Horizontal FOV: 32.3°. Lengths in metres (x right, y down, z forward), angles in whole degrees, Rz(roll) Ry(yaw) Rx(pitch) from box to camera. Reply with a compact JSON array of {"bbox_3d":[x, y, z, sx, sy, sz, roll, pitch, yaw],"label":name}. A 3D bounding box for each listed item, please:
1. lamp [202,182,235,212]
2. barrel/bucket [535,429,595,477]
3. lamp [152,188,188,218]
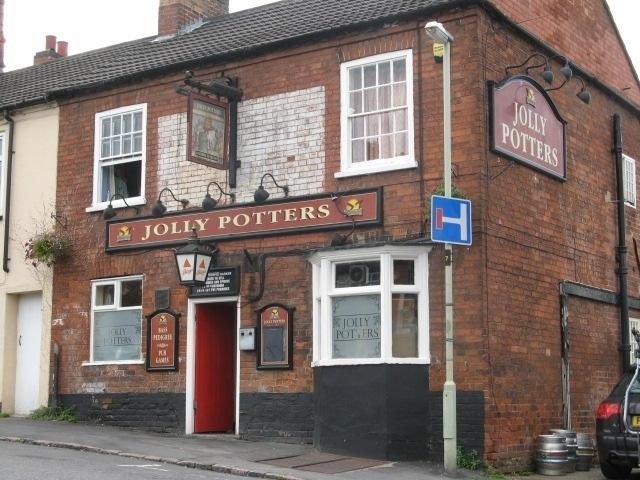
[{"bbox_3d":[-2.278,-0.950,23.769,0.395,0.837,0.862,-6,-7,44],"label":"lamp"},{"bbox_3d":[4.748,4.109,21.513,0.887,0.715,0.892,0,-6,0],"label":"barrel/bucket"},{"bbox_3d":[-3.293,-0.881,24.242,0.822,0.668,0.345,-6,-13,18],"label":"lamp"}]
